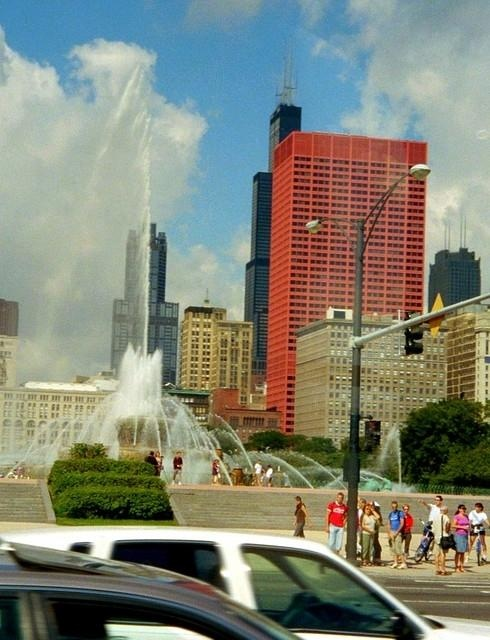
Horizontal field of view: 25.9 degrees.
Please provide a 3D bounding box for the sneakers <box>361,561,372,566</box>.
[{"bbox_3d":[2.664,5.349,23.552,0.170,0.069,0.211,1,0,-16],"label":"sneakers"}]

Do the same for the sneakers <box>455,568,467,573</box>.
[{"bbox_3d":[4.838,5.604,23.930,0.140,0.053,0.166,3,-1,-9],"label":"sneakers"}]
